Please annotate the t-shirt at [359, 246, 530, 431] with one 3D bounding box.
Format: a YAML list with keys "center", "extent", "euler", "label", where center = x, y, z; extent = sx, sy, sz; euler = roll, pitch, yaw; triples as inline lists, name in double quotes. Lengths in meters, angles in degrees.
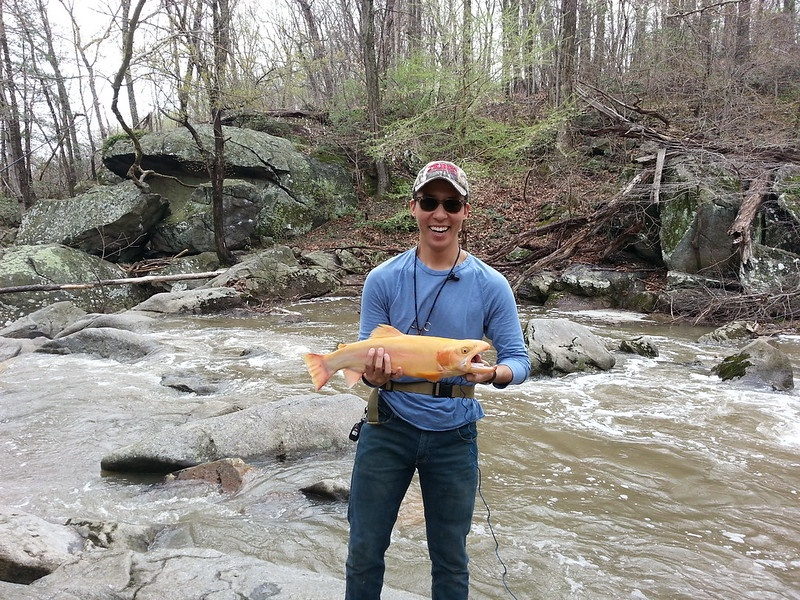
- center: [0.437, 0.382, 7.662]
  extent: [1.554, 1.956, 1.637]
  euler: [3, 5, -35]
  label: "t-shirt"

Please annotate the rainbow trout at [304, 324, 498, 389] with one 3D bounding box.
- center: [0.011, 0.593, 7.319]
  extent: [1.904, 0.656, 0.209]
  euler: [0, 11, 3]
  label: "rainbow trout"
